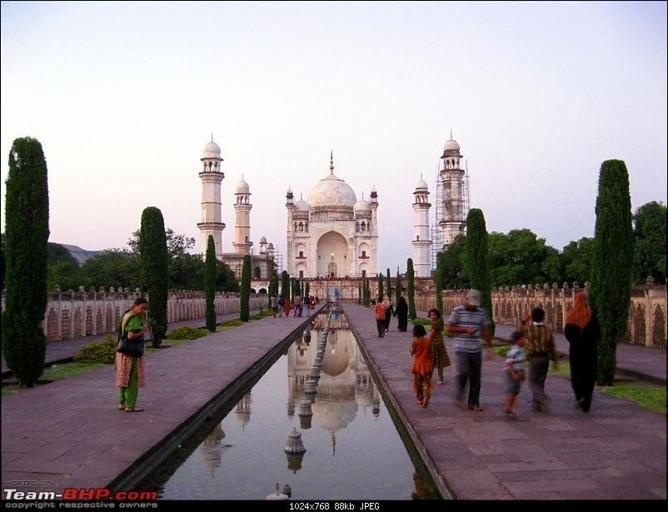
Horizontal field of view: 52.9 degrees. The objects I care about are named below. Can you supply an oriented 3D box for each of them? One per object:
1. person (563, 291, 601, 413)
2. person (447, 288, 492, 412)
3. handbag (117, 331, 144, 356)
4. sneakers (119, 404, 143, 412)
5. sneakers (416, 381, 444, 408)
[{"bbox_3d":[2.809,1.025,7.623,0.360,1.321,0.354,-7,20,9],"label":"person"},{"bbox_3d":[1.470,1.024,7.423,0.512,1.029,0.398,7,-2,1],"label":"person"},{"bbox_3d":[-2.271,0.980,7.522,0.281,0.266,0.207,8,-2,-18],"label":"handbag"},{"bbox_3d":[-2.238,1.678,7.386,0.290,0.074,0.167,8,-2,-5],"label":"sneakers"},{"bbox_3d":[1.109,1.623,7.821,0.125,0.164,0.444,-16,-4,2],"label":"sneakers"}]
